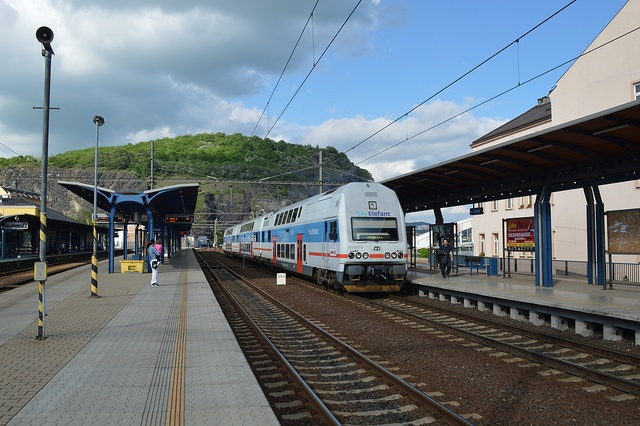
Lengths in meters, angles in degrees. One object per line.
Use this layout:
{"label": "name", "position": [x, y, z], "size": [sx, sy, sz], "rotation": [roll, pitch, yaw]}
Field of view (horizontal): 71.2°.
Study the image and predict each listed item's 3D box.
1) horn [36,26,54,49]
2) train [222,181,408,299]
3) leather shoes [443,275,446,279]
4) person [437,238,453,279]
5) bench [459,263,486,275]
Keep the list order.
{"label": "horn", "position": [-7.255, -4.613, 11.682], "size": [0.315, 0.655, 0.616], "rotation": [2, -4, -35]}
{"label": "train", "position": [-0.856, 1.115, 28.845], "size": [3.191, 4.470, 21.695], "rotation": [2, 0, -21]}
{"label": "leather shoes", "position": [5.835, 2.963, 20.827], "size": [0.172, 0.165, 0.093], "rotation": [1, -4, -3]}
{"label": "person", "position": [5.900, 2.128, 21.108], "size": [0.560, 1.804, 1.170], "rotation": [-2, -4, 29]}
{"label": "bench", "position": [8.723, 3.070, 25.254], "size": [0.833, 0.296, 1.207], "rotation": [-1, 0, -21]}
